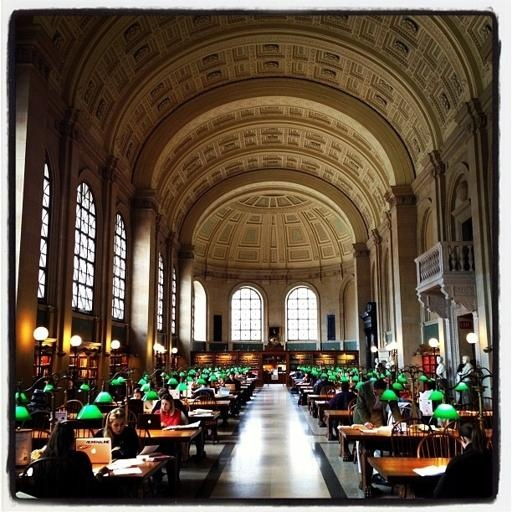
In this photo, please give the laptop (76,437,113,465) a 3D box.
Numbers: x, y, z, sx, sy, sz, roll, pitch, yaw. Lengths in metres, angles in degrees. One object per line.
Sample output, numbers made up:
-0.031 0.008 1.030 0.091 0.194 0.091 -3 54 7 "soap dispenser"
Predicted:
-1.914 2.322 4.760 0.393 0.330 0.316 0 -7 3 "laptop"
